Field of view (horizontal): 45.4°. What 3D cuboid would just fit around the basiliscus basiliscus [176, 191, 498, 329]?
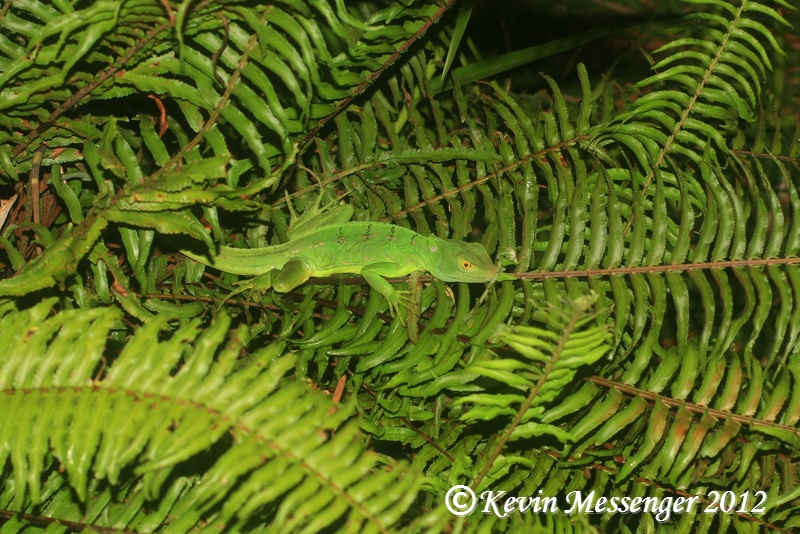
[{"bbox_3d":[-0.248,-0.048,4.840,1.422,0.508,0.626,8,33,-1],"label":"basiliscus basiliscus"}]
